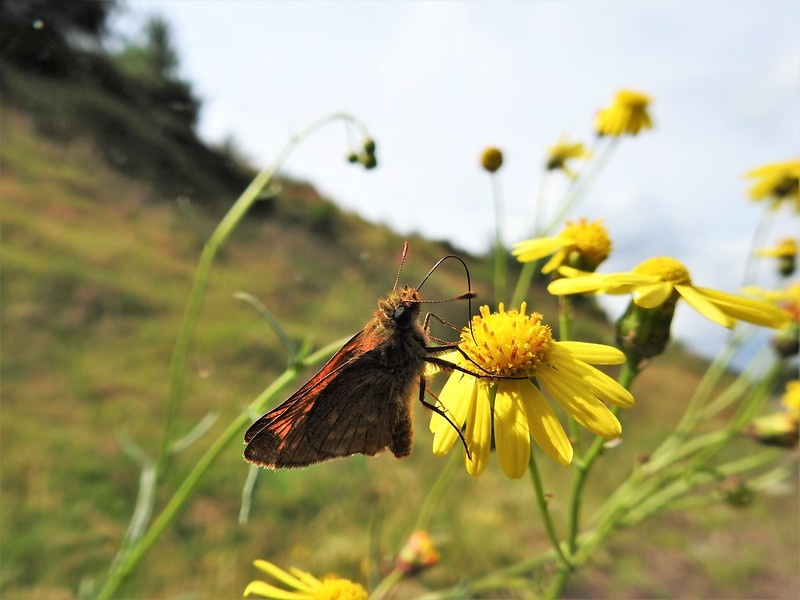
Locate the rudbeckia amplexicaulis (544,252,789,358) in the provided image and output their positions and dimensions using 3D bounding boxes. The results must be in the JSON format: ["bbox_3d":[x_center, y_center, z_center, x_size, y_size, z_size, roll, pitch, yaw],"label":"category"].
[{"bbox_3d":[1.246,-0.034,3.137,0.849,0.316,0.891,5,7,-2],"label":"rudbeckia amplexicaulis"}]

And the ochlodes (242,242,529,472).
[{"bbox_3d":[-0.216,0.421,3.164,0.982,1.305,0.547,8,-6,-22],"label":"ochlodes"}]

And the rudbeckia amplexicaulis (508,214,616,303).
[{"bbox_3d":[0.783,-0.173,3.170,0.338,0.404,0.256,2,9,-22],"label":"rudbeckia amplexicaulis"}]

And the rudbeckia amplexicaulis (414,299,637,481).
[{"bbox_3d":[0.558,0.405,3.185,1.052,0.688,1.137,5,4,41],"label":"rudbeckia amplexicaulis"}]
